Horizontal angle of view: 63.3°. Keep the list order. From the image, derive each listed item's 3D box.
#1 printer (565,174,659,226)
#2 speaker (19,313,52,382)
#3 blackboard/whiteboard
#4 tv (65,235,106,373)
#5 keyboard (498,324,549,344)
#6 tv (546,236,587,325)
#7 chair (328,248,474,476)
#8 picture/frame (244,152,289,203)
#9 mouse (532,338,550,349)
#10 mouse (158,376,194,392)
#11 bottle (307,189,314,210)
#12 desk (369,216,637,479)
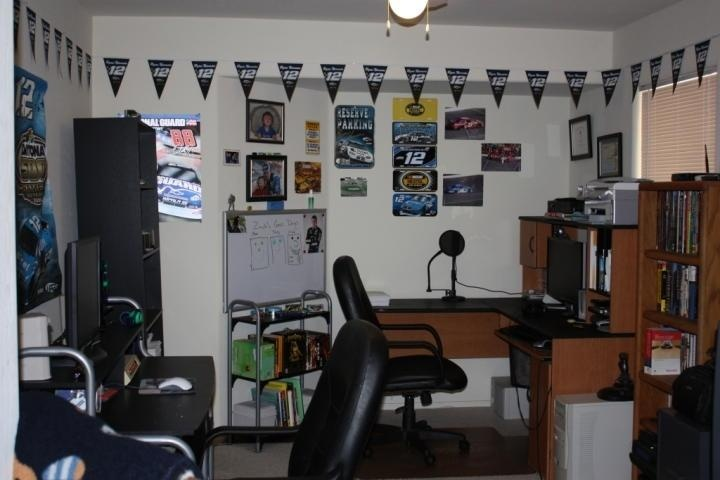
[{"bbox_3d":[1.730,-0.274,4.098,0.337,0.314,0.500,2,1,0],"label":"printer"},{"bbox_3d":[-1.517,0.505,2.735,0.126,0.310,0.215,0,2,-29],"label":"speaker"},{"bbox_3d":[-0.693,0.144,5.006,0.050,0.825,1.091,5,6,43],"label":"blackboard/whiteboard"},{"bbox_3d":[-1.486,0.325,3.113,0.202,0.598,0.622,-2,-2,-14],"label":"tv"},{"bbox_3d":[1.195,0.681,4.224,0.188,0.039,0.359,-3,4,-17],"label":"keyboard"},{"bbox_3d":[1.574,0.278,4.576,0.114,0.563,0.642,-6,-13,44],"label":"tv"},{"bbox_3d":[0.326,0.867,4.387,0.979,1.419,0.806,0,0,14],"label":"chair"},{"bbox_3d":[-0.813,-0.539,4.972,0.438,0.454,0.035,-2,4,-35],"label":"picture/frame"},{"bbox_3d":[1.255,0.712,4.008,0.100,0.058,0.122,3,3,41],"label":"mouse"},{"bbox_3d":[-0.976,0.755,3.095,0.128,0.042,0.081,4,-2,-1],"label":"mouse"},{"bbox_3d":[-0.424,-0.367,5.189,0.062,0.170,0.062,1,2,0],"label":"bottle"},{"bbox_3d":[0.976,0.694,4.694,1.737,1.887,1.942,1,0,-1],"label":"desk"}]
